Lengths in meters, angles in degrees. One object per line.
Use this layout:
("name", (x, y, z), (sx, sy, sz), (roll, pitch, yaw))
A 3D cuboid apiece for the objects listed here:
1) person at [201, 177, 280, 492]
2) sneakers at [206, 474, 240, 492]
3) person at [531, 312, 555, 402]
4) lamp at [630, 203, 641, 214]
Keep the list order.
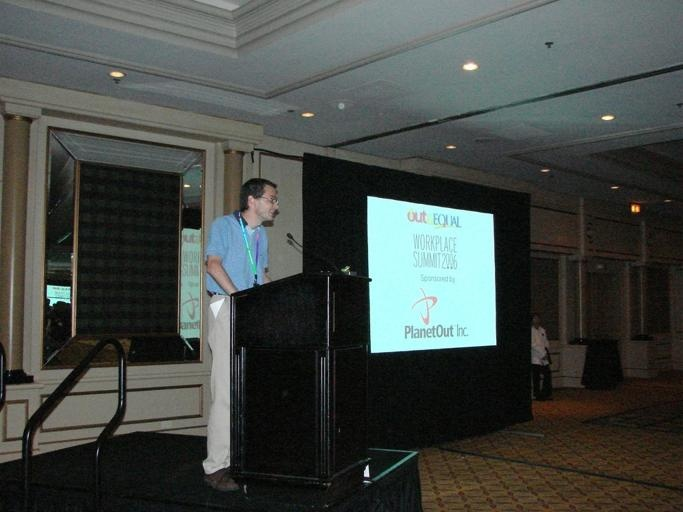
("person", (-0.621, 0.437, 3.531), (0.506, 1.893, 0.665), (-2, -6, -17))
("sneakers", (-0.702, 1.339, 3.356), (0.215, 0.134, 0.081), (-6, -18, 22))
("person", (3.392, 1.737, 9.836), (0.300, 1.456, 0.471), (-8, -8, 44))
("lamp", (5.975, -0.940, 11.609), (0.175, 0.271, 0.322), (-3, -6, 43))
